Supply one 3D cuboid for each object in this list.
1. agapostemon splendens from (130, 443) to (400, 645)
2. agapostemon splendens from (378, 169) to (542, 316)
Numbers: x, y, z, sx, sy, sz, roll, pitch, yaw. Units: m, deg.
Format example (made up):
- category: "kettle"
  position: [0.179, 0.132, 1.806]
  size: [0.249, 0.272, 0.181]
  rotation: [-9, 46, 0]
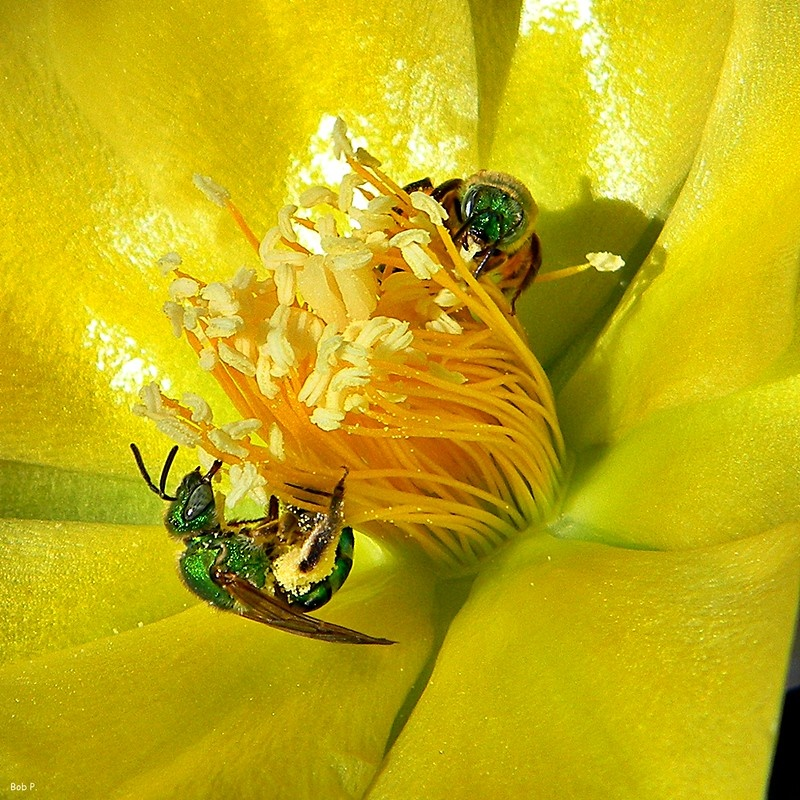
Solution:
- category: "agapostemon splendens"
  position: [-0.107, 0.133, 0.847]
  size: [0.189, 0.127, 0.123]
  rotation: [9, 57, 16]
- category: "agapostemon splendens"
  position: [0.075, -0.165, 0.983]
  size: [0.133, 0.060, 0.157]
  rotation: [19, 31, -15]
